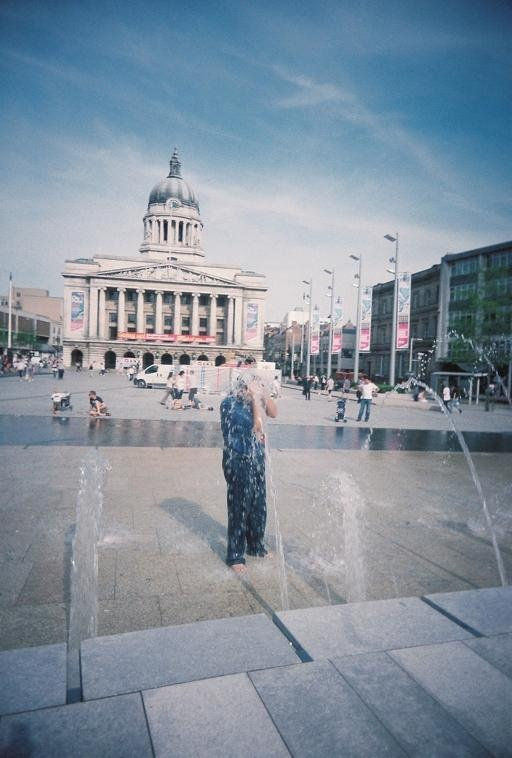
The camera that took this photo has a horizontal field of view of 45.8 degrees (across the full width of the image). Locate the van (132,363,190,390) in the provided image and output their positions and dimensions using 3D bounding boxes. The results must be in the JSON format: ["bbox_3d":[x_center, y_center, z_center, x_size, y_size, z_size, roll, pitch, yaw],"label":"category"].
[{"bbox_3d":[-5.882,-0.192,36.701,3.083,1.492,1.797,3,1,3],"label":"van"}]

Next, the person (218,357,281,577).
[{"bbox_3d":[-0.105,0.781,5.363,0.474,1.643,0.711,3,4,-1],"label":"person"}]

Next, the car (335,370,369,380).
[{"bbox_3d":[9.108,-0.368,58.306,3.288,1.519,1.405,0,2,13],"label":"car"}]
